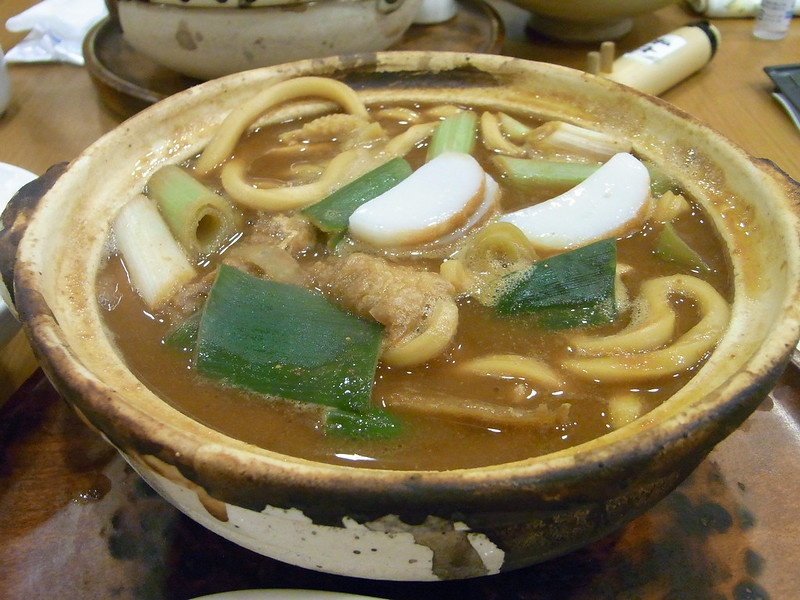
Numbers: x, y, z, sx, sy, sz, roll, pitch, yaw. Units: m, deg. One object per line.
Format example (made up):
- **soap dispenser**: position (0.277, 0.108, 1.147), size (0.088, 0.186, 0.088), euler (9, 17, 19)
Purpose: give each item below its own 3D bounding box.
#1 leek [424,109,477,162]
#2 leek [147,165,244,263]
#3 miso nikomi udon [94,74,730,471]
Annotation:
- **leek**: position (0.146, -0.455, 1.880), size (0.114, 0.039, 0.173), euler (17, 49, 18)
- **leek**: position (-0.505, -0.202, 1.685), size (0.151, 0.122, 0.277), euler (-44, 50, -5)
- **miso nikomi udon**: position (0.036, -0.027, 1.674), size (1.157, 0.274, 0.958), euler (1, 36, 2)
